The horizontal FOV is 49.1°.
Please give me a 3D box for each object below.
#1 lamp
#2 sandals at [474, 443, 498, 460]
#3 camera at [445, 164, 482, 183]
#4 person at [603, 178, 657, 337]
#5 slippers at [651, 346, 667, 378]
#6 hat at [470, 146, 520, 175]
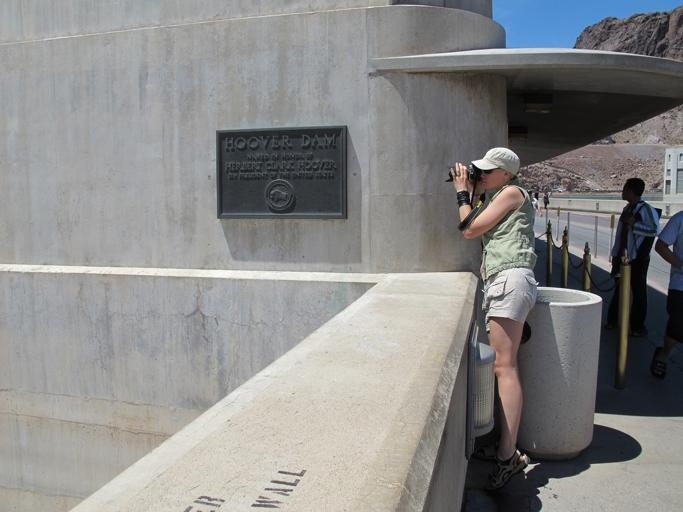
[{"bbox_3d":[1.262,1.244,6.800,0.269,1.047,0.610,-1,8,12],"label":"lamp"},{"bbox_3d":[1.356,1.855,7.038,0.148,0.077,0.158,2,-8,-22],"label":"sandals"},{"bbox_3d":[1.247,-0.816,7.524,0.365,0.266,0.143,-2,4,37],"label":"camera"},{"bbox_3d":[3.948,0.040,10.136,0.652,2.103,1.283,0,8,20],"label":"person"},{"bbox_3d":[3.741,1.292,8.842,0.132,0.437,0.105,0,-5,21],"label":"slippers"},{"bbox_3d":[1.481,-0.866,7.111,0.331,0.204,0.265,16,9,-2],"label":"hat"}]
